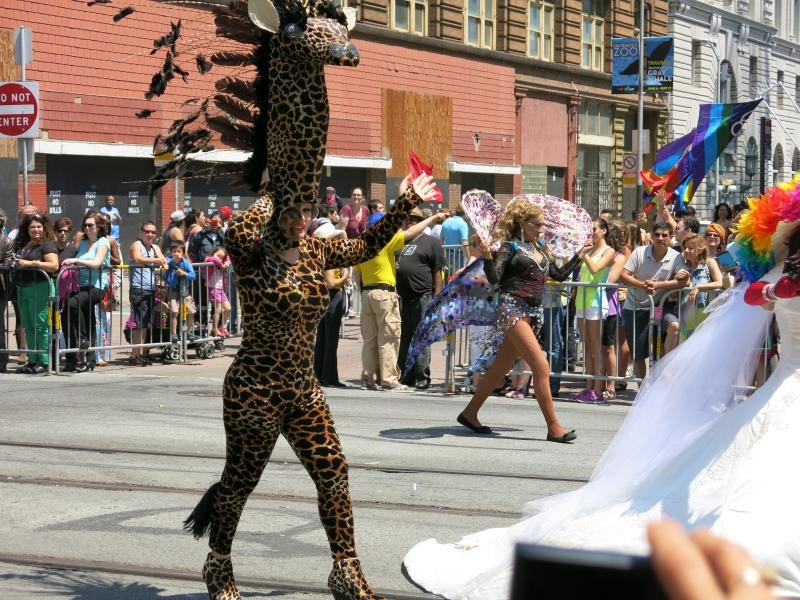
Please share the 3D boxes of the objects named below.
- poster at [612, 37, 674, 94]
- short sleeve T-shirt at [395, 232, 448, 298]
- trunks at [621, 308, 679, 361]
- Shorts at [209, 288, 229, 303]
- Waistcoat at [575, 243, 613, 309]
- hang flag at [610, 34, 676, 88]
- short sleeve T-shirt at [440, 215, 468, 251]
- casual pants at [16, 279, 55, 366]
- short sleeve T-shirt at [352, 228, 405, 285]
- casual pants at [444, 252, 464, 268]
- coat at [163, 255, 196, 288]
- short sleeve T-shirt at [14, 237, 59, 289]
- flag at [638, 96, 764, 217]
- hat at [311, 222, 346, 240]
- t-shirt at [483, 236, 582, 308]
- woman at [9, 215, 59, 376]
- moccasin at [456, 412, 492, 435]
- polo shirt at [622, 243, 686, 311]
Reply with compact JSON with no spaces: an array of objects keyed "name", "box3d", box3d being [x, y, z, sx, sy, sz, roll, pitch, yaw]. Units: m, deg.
[{"name":"poster","box3d":[5.395,-5.210,34.913,1.685,1.450,0.181,0,5,14]},{"name":"short sleeve T-shirt","box3d":[0.211,-0.410,18.369,0.444,0.744,0.764,3,-3,-44]},{"name":"trunks","box3d":[2.869,0.358,17.835,0.561,0.751,0.573,2,11,43]},{"name":"Shorts","box3d":[-2.438,-0.081,20.913,0.160,0.246,0.270,-5,-1,10]},{"name":"Waistcoat","box3d":[2.284,-0.257,18.039,0.308,0.773,0.406,9,-9,0]},{"name":"hang flag","box3d":[5.389,-5.221,35.077,1.494,1.238,0.157,-4,11,-17]},{"name":"short sleeve T-shirt","box3d":[0.736,-0.936,21.821,0.558,0.551,0.230,10,11,41]},{"name":"casual pants","box3d":[-4.413,0.258,18.931,0.459,1.031,0.369,-6,-6,29]},{"name":"short sleeve T-shirt","box3d":[-0.329,-0.393,18.283,0.543,0.493,0.289,-8,32,19]},{"name":"casual pants","box3d":[0.742,-0.595,22.447,0.298,0.278,0.078,-1,10,22]},{"name":"coat","box3d":[-2.802,-0.354,20.055,0.454,0.440,0.343,-1,-12,-30]},{"name":"short sleeve T-shirt","box3d":[-4.387,-0.432,18.843,0.594,0.533,0.322,-2,-7,10]},{"name":"flag","box3d":[4.269,-2.181,22.776,0.880,2.437,0.343,17,38,-5]},{"name":"hat","box3d":[-0.686,-0.659,15.023,0.242,0.136,0.317,-3,4,-2]},{"name":"t-shirt","box3d":[1.281,-0.301,15.726,1.377,0.728,0.353,4,3,-34]},{"name":"woman","box3d":[-4.494,-0.120,18.921,0.922,1.917,0.905,-1,-7,-8]},{"name":"moccasin","box3d":[0.746,1.253,15.995,0.431,0.158,0.154,21,8,3]},{"name":"polo shirt","box3d":[2.863,-0.243,17.653,0.576,0.649,0.317,19,-1,12]}]
